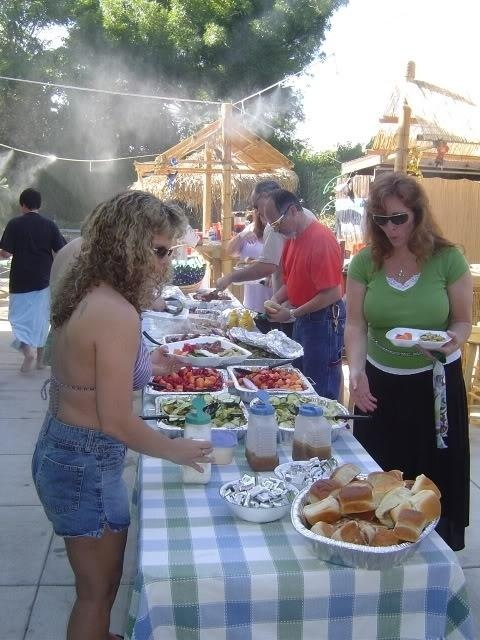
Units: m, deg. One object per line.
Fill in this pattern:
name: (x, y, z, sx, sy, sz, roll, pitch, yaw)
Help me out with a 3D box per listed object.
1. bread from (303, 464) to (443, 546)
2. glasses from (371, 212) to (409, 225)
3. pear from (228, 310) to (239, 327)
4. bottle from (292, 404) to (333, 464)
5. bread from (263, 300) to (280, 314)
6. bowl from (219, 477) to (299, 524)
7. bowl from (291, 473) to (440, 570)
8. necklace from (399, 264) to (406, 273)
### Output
bread: (0.279, 0.385, 1.155, 0.183, 0.056, 0.177, 0, 3, 21)
glasses: (0.597, -0.407, 2.160, 0.077, 0.053, 0.185, -8, 14, -24)
pear: (-0.044, -0.003, 3.458, 0.069, 0.128, 0.064, 5, 24, 13)
bottle: (0.213, 0.349, 1.579, 0.086, 0.204, 0.154, -4, 10, -21)
bread: (0.184, -0.071, 3.110, 0.078, 0.029, 0.075, -4, 27, -16)
bowl: (0.053, 0.434, 1.296, 0.120, 0.046, 0.116, 1, 3, 0)
bowl: (0.247, 0.460, 1.130, 0.304, 0.079, 0.196, 3, 14, 22)
necklace: (0.674, -0.206, 2.209, 0.023, 0.052, 0.022, 1, 4, -2)
